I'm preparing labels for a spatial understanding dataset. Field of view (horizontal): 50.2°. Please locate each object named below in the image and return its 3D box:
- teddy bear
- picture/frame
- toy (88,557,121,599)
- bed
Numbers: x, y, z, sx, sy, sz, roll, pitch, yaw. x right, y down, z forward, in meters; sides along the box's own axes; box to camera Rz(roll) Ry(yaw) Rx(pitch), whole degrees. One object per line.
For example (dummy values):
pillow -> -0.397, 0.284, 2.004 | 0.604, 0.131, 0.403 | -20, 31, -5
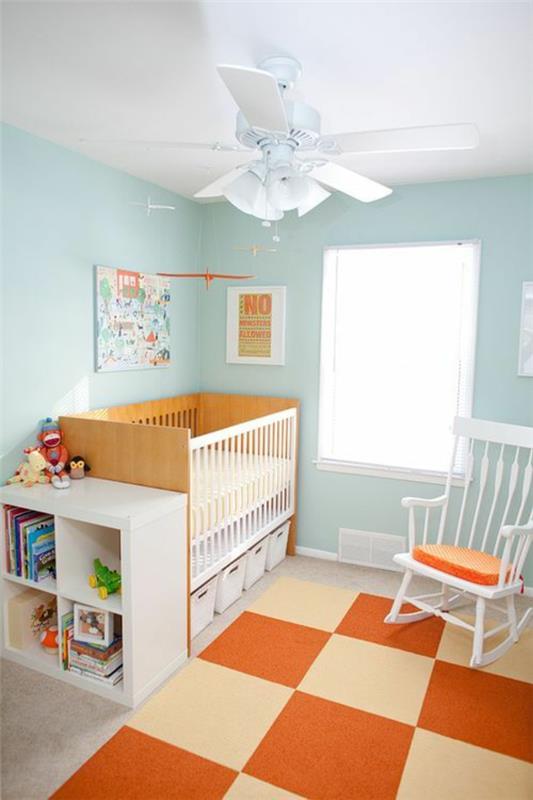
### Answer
teddy bear -> -0.941, 0.263, 2.470 | 0.346, 0.345, 0.204 | 5, -18, -36
picture/frame -> -0.055, -0.482, 3.609 | 0.461, 0.568, 0.021 | 3, 5, 32
toy -> -0.621, 0.669, 2.164 | 0.149, 0.109, 0.090 | 17, 4, 27
bed -> -0.355, 0.520, 2.988 | 0.670, 0.915, 1.208 | 1, 5, 24
